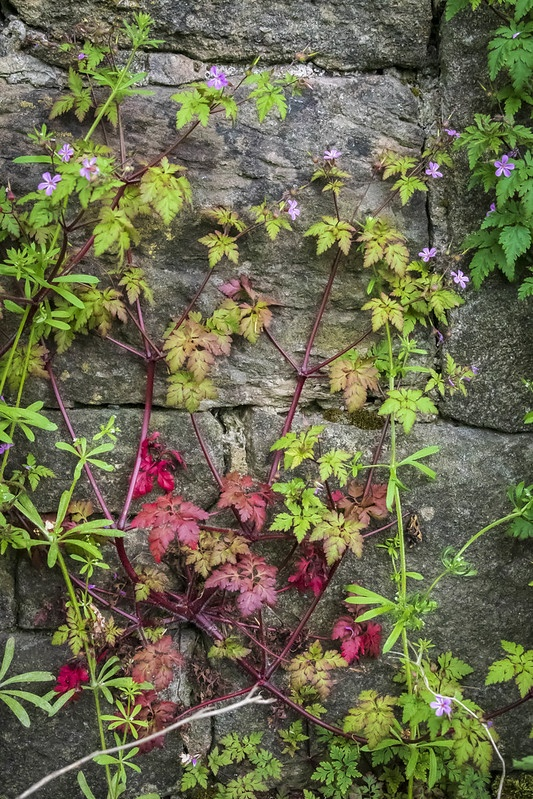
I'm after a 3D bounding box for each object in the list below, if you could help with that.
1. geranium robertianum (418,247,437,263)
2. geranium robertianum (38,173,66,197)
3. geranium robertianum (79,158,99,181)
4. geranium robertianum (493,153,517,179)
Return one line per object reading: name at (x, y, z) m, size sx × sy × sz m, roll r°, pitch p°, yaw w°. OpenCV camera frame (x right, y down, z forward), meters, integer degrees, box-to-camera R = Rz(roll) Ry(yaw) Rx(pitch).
geranium robertianum at (0.516, -0.454, 2.848) m, size 0.059 × 0.016 × 0.057 m, roll -37°, pitch 48°, yaw -5°
geranium robertianum at (-0.621, -0.617, 2.585) m, size 0.082 × 0.076 × 0.018 m, roll 16°, pitch -5°, yaw -4°
geranium robertianum at (-0.498, -0.652, 2.531) m, size 0.053 × 0.055 × 0.049 m, roll -3°, pitch 40°, yaw -12°
geranium robertianum at (0.724, -0.708, 2.722) m, size 0.060 × 0.063 × 0.062 m, roll 0°, pitch 39°, yaw -9°
